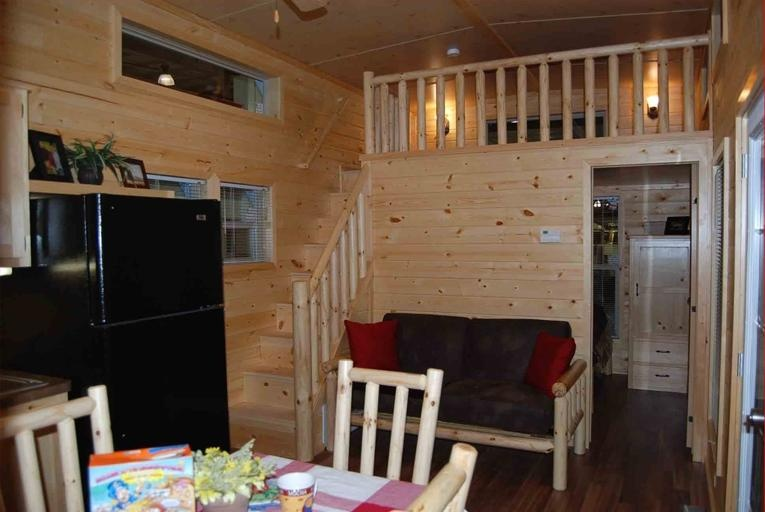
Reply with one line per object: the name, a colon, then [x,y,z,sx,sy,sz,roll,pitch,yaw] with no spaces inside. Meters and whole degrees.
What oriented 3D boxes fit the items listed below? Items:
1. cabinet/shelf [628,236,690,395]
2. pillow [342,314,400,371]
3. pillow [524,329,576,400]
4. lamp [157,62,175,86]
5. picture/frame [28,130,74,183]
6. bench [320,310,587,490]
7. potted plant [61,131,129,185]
cabinet/shelf: [3.127,0.640,6.498,0.612,1.723,0.313,2,9,18]
pillow: [-0.085,0.767,5.055,0.587,0.422,0.242,2,-8,-37]
pillow: [1.437,0.901,4.893,0.319,0.441,0.563,-8,0,-9]
lamp: [-1.914,-1.601,5.066,0.048,0.201,0.190,3,8,22]
picture/frame: [-2.243,-0.679,3.873,0.240,0.350,0.327,-4,8,-26]
bench: [0.609,1.133,5.091,2.277,0.952,0.997,1,13,30]
potted plant: [-2.065,-0.690,4.123,0.445,0.267,0.342,2,2,12]
